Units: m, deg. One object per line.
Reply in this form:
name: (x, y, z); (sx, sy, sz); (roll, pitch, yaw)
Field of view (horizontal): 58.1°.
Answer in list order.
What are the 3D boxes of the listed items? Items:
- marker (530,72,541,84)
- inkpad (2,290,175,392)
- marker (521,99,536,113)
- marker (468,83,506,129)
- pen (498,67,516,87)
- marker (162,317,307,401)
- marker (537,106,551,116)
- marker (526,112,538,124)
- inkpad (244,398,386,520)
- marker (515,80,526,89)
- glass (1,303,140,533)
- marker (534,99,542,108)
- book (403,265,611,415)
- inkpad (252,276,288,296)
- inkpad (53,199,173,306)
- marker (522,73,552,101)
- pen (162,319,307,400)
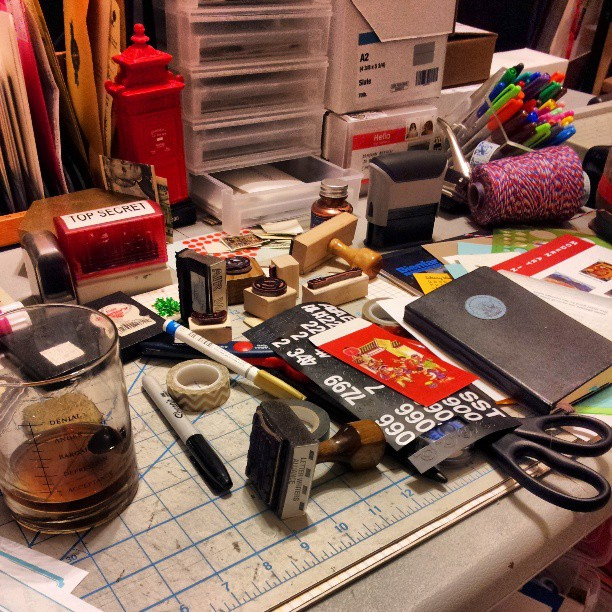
marker: (0.427, -0.424, 1.026); (0.017, 0.016, 0.019); (-12, 35, -23)
inkpad: (-0.217, 0.036, 0.523); (0.094, 0.016, 0.083); (-26, 39, -33)
marker: (0.415, -0.376, 1.037); (0.033, 0.013, 0.014); (-25, 11, 12)
marker: (0.352, -0.389, 1.079); (0.012, 0.095, 0.015); (44, 36, 18)
pen: (0.381, -0.431, 1.037); (0.033, 0.028, 0.019); (-23, 42, -36)
marker: (-0.082, 0.059, 0.606); (0.191, 0.019, 0.021); (25, 34, 25)
marker: (0.456, -0.375, 1.061); (0.032, 0.007, 0.008); (-35, 11, -2)
marker: (0.423, -0.354, 1.038); (0.014, 0.021, 0.012); (28, 48, -18)
inkpad: (0.009, 0.135, 0.472); (0.100, 0.054, 0.102); (-11, 30, -27)
marker: (0.400, -0.414, 1.029); (0.025, 0.013, 0.007); (-12, 37, -24)
glass: (-0.173, 0.100, 0.488); (0.159, 0.167, 0.118); (2, 29, 0)
marker: (0.447, -0.390, 1.064); (0.010, 0.016, 0.006); (-4, 27, -8)
book: (0.242, 0.032, 0.650); (0.140, 0.053, 0.210); (-18, 36, -32)
inkpad: (-0.047, -0.024, 0.704); (0.038, 0.012, 0.037); (27, 38, 36)
inkpad: (-0.254, -0.066, 0.723); (0.132, 0.098, 0.068); (-19, 35, -29)
marker: (0.429, -0.411, 1.031); (0.017, 0.022, 0.075); (-46, 16, -20)
pen: (-0.079, 0.062, 0.605); (0.179, 0.017, 0.019); (23, 18, 16)
